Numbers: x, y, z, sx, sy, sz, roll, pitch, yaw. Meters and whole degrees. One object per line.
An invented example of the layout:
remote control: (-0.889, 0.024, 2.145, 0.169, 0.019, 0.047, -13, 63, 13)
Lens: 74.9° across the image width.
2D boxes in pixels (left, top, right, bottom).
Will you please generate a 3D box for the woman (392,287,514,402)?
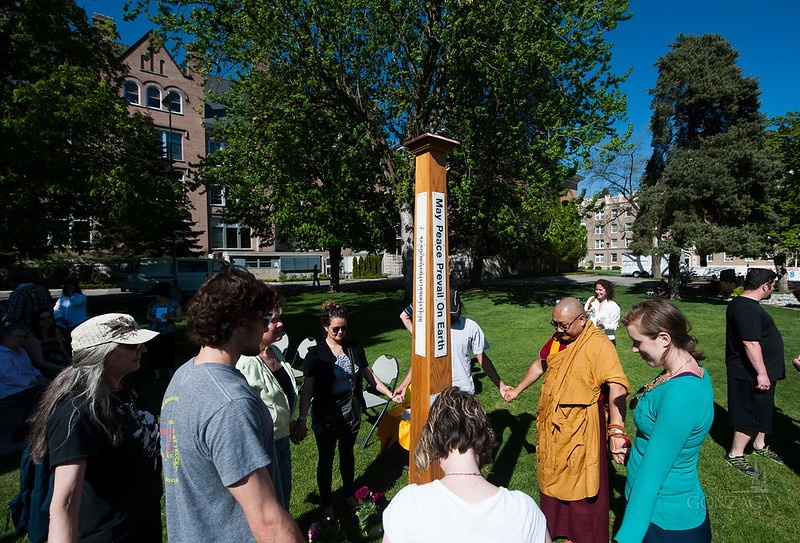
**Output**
woman: (1.077, 2.092, 9.789, 1.848, 3.707, 1.083, 6, 35, 16)

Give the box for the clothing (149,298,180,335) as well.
clothing: (-5.617, 1.036, 12.379, 0.604, 0.854, 0.434, 3, 20, -17)

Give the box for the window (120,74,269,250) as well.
window: (-15.575, -7.921, 39.930, 5.926, 13.270, 9.264, 0, 0, 8)

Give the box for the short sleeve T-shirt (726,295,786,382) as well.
short sleeve T-shirt: (6.598, 1.214, 9.817, 0.927, 1.658, 1.560, -5, -2, 26)

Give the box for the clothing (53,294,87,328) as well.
clothing: (-8.373, 0.980, 13.224, 0.705, 0.944, 0.552, -7, -11, -13)

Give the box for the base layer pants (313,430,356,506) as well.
base layer pants: (-1.081, 2.976, 8.620, 0.655, 1.878, 0.450, -6, 23, -12)
